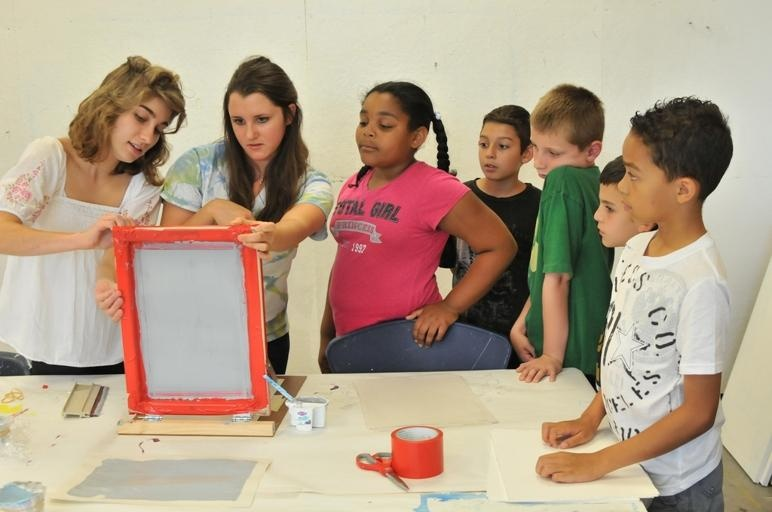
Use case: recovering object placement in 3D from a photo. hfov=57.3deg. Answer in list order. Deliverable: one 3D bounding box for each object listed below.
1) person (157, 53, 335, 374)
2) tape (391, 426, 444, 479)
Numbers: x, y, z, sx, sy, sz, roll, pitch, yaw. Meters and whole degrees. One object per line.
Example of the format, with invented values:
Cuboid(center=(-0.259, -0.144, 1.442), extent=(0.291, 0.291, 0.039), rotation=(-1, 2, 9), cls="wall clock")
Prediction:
Cuboid(center=(-0.566, -0.159, 2.875), extent=(0.687, 1.265, 0.598), rotation=(2, -9, -10), cls="person")
Cuboid(center=(0.099, 0.611, 2.220), extent=(0.166, 0.141, 0.142), rotation=(1, 5, 3), cls="tape")
